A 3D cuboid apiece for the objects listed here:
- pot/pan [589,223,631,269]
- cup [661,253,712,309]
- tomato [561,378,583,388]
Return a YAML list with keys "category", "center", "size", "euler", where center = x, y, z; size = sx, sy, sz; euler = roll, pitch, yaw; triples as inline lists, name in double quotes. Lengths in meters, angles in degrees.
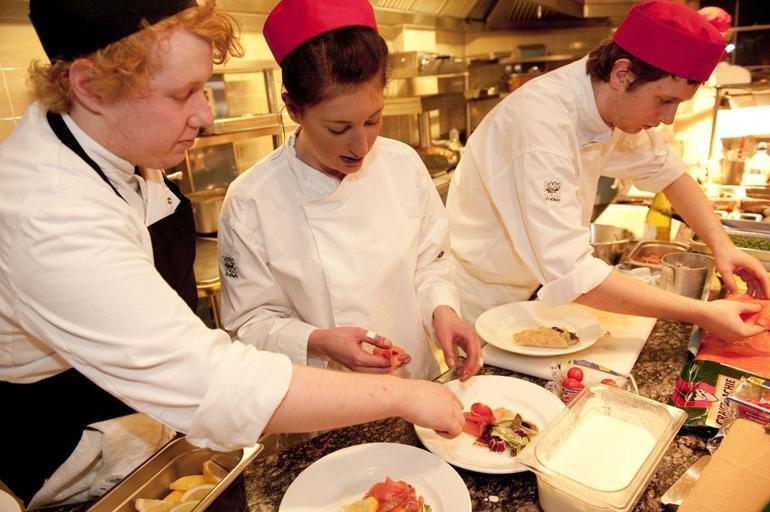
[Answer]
- category: "pot/pan"
  center: [1.118, -0.070, 2.649]
  size: [0.277, 0.132, 0.272]
  euler: [-1, 20, 14]
- category: "cup"
  center: [1.187, 0.093, 2.168]
  size: [0.221, 0.193, 0.167]
  euler: [4, 18, 19]
- category: "tomato"
  center: [0.589, 0.396, 1.672]
  size: [0.049, 0.027, 0.027]
  euler: [12, 3, 5]
